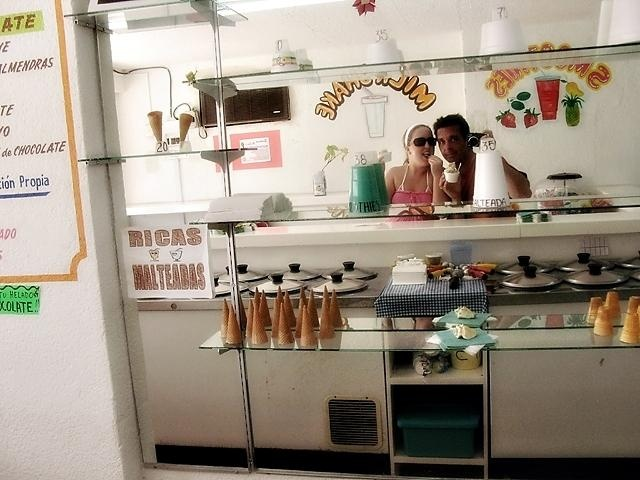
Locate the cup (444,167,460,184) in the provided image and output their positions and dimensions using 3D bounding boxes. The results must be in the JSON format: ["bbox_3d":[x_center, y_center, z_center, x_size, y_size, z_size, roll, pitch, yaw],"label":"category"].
[{"bbox_3d":[0.554,-0.274,2.538,0.058,0.052,0.071,-1,4,-3],"label":"cup"}]

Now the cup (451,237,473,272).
[{"bbox_3d":[0.753,0.084,3.276,0.126,0.159,0.126,0,1,0],"label":"cup"}]

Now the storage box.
[{"bbox_3d":[0.589,0.956,2.980,0.339,0.151,0.228,0,-3,8],"label":"storage box"}]

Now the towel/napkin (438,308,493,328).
[{"bbox_3d":[0.566,0.309,2.390,0.116,0.054,0.108,3,11,20],"label":"towel/napkin"}]

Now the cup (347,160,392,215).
[{"bbox_3d":[0.179,-0.197,2.273,0.168,0.186,0.180,-1,13,0],"label":"cup"}]

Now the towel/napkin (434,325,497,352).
[{"bbox_3d":[0.531,0.358,2.253,0.241,0.079,0.161,-1,5,7],"label":"towel/napkin"}]

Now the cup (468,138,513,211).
[{"bbox_3d":[0.616,-0.251,2.206,0.139,0.268,0.112,0,5,23],"label":"cup"}]

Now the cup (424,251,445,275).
[{"bbox_3d":[0.568,0.117,3.054,0.103,0.110,0.099,-4,4,0],"label":"cup"}]

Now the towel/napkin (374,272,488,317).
[{"bbox_3d":[0.525,0.263,2.837,0.523,0.157,0.271,-1,5,8],"label":"towel/napkin"}]
